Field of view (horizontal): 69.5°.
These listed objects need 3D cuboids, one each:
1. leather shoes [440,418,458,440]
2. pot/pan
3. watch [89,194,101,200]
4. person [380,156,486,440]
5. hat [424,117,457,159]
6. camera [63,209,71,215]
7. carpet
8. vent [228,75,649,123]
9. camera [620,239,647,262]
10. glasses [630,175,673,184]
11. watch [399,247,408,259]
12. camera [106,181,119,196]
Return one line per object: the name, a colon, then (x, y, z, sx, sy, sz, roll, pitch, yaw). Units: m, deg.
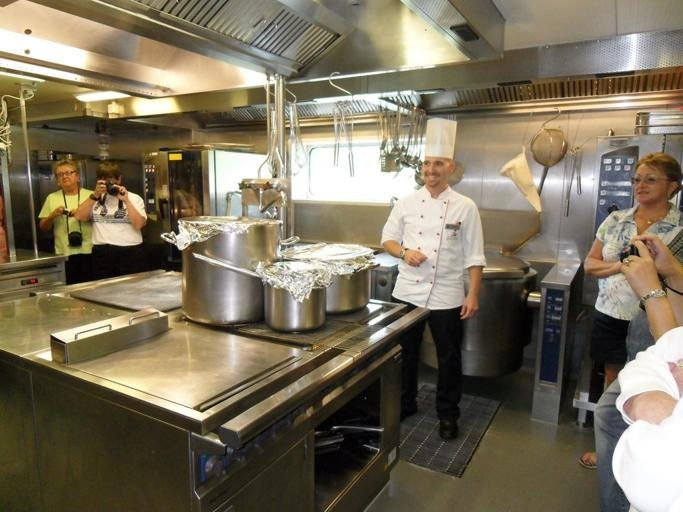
leather shoes: (0.663, 1.084, 3.100, 0.136, 0.126, 0.082, -3, 1, 11)
pot/pan: (-0.326, 0.042, 2.061, 0.687, 0.321, 0.476, 0, 7, -12)
watch: (-1.956, -0.472, 3.952, 0.073, 0.046, 0.068, 0, 10, -27)
person: (0.553, 0.253, 3.122, 0.630, 1.735, 0.462, 4, 15, 15)
hat: (0.593, -0.709, 2.992, 0.170, 0.242, 0.164, 2, 15, 9)
camera: (-2.262, -0.362, 4.072, 0.052, 0.037, 0.012, 23, -40, -14)
carpet: (0.597, 1.105, 3.362, 0.698, 0.022, 1.108, 10, 12, 25)
vent: (0.796, -1.238, 3.877, 3.153, 0.219, 1.122, 4, 15, 18)
camera: (1.286, -0.024, 2.182, 0.089, 0.117, 0.043, -11, 1, -28)
glasses: (1.659, -0.413, 2.668, 0.159, 0.050, 0.065, 10, 17, 35)
watch: (0.370, -0.020, 2.992, 0.040, 0.059, 0.054, 10, -26, 36)
camera: (-1.828, -0.539, 3.942, 0.097, 0.059, 0.093, 40, 16, 33)
